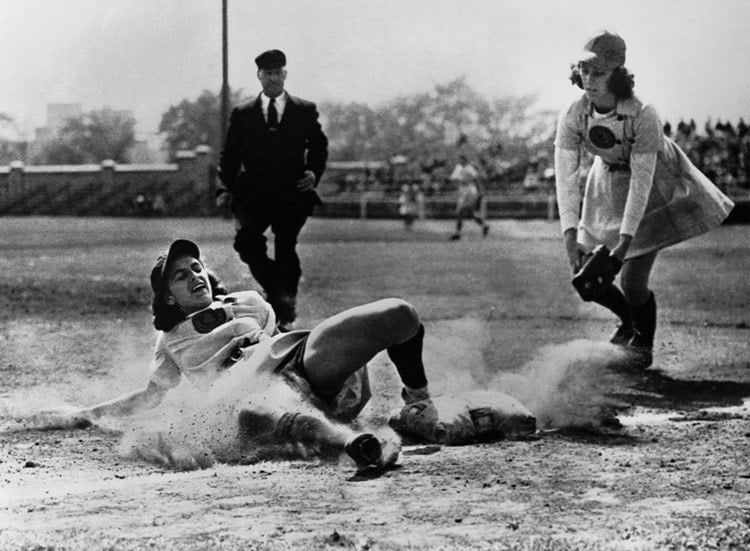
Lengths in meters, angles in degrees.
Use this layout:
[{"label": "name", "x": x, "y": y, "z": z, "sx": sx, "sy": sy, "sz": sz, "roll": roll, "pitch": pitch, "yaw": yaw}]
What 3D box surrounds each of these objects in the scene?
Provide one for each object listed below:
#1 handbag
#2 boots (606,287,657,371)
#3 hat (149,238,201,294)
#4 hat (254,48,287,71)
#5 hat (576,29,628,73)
[{"label": "handbag", "x": 0.382, "y": 0.623, "z": 5.572, "sx": 0.365, "sy": 0.115, "sz": 0.312, "roll": -2, "pitch": 1, "yaw": -22}, {"label": "boots", "x": 1.222, "y": 0.281, "z": 6.142, "sx": 0.304, "sy": 0.434, "sz": 0.238, "roll": 2, "pitch": 7, "yaw": 7}, {"label": "hat", "x": -0.846, "y": -0.049, "z": 5.510, "sx": 0.169, "sy": 0.245, "sz": 0.073, "roll": -4, "pitch": 35, "yaw": -48}, {"label": "hat", "x": -0.468, "y": -0.962, "z": 5.873, "sx": 0.147, "sy": 0.096, "sz": 0.105, "roll": 0, "pitch": 8, "yaw": -9}, {"label": "hat", "x": 0.977, "y": -0.967, "z": 5.691, "sx": 0.200, "sy": 0.173, "sz": 0.101, "roll": 2, "pitch": 8, "yaw": 9}]
